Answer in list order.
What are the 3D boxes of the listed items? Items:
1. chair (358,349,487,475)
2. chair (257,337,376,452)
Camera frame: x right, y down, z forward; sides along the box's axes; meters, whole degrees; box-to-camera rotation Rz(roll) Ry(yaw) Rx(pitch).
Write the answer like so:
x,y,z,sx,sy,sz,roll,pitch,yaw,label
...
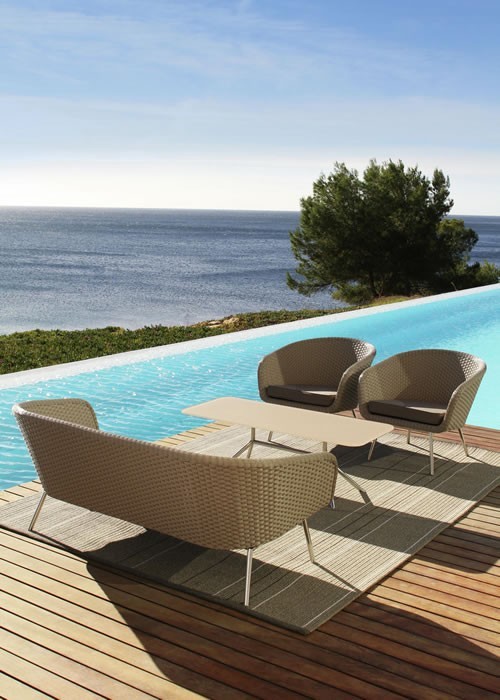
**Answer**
x,y,z,sx,sy,sz,roll,pitch,yaw,label
1.181,0.383,3.737,0.700,0.700,0.704,9,11,44,chair
0.493,0.255,4.166,0.802,0.590,0.694,5,11,35,chair
